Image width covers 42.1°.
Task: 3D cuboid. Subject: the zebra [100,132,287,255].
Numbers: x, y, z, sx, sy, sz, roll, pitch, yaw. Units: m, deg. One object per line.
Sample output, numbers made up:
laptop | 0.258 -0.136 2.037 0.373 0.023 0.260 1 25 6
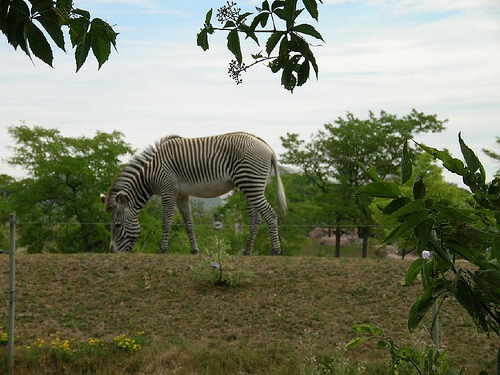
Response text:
zebra | -1.596 0.235 18.010 4.606 3.395 1.037 -1 -3 2
